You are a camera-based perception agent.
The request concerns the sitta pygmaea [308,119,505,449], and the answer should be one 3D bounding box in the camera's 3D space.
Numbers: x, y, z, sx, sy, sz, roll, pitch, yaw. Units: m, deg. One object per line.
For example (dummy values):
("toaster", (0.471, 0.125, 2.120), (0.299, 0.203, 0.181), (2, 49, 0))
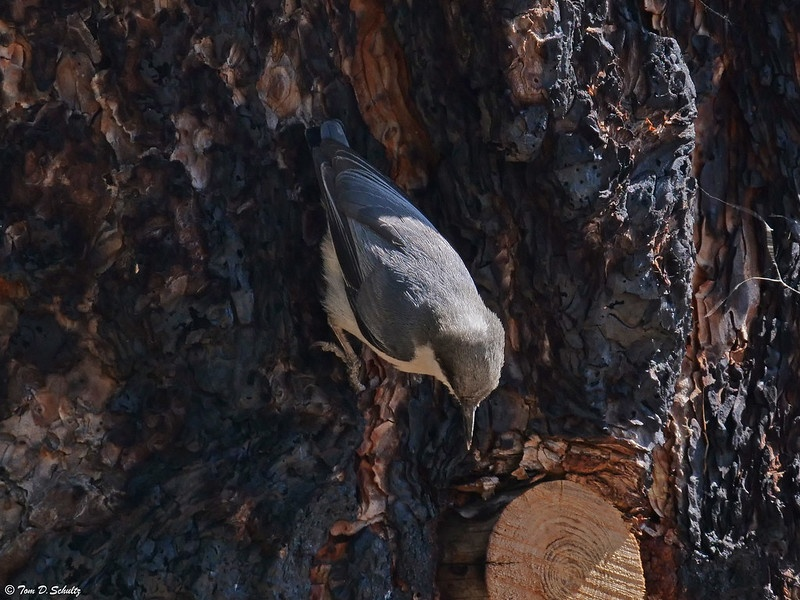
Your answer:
("sitta pygmaea", (0.068, -0.076, 9.141), (0.537, 1.606, 0.952), (-20, 10, -38))
